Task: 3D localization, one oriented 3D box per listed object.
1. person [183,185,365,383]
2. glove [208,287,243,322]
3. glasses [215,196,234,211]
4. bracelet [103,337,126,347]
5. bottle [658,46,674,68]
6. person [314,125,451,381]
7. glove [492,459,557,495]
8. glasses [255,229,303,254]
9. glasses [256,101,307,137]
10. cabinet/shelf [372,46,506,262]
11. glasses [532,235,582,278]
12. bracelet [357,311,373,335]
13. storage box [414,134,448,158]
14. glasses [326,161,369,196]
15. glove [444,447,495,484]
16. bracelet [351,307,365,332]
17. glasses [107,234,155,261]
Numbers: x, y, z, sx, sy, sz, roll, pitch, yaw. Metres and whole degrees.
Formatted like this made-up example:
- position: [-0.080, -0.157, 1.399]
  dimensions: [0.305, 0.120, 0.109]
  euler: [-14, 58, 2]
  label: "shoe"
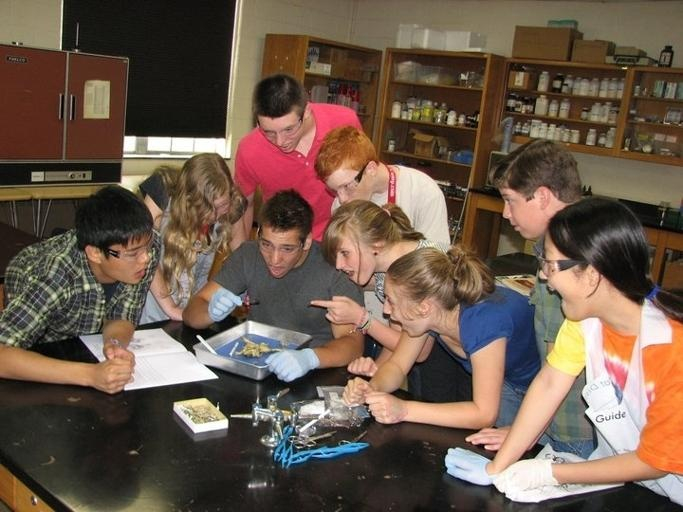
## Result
- position: [-0.327, 0.149, 2.486]
  dimensions: [0.600, 0.821, 0.460]
  euler: [12, 36, 13]
  label: "person"
- position: [-0.550, 0.229, 2.501]
  dimensions: [0.131, 0.163, 0.071]
  euler: [49, 14, 16]
  label: "glove"
- position: [-0.650, -0.278, 2.870]
  dimensions: [0.058, 0.037, 0.079]
  euler: [3, -29, 2]
  label: "glasses"
- position: [-0.923, 0.355, 2.147]
  dimensions: [0.064, 0.026, 0.064]
  euler: [12, -5, 11]
  label: "bracelet"
- position: [3.248, -2.003, 5.265]
  dimensions: [0.129, 0.242, 0.235]
  euler: [10, 13, 31]
  label: "bottle"
- position: [0.213, 0.087, 3.036]
  dimensions: [0.598, 1.537, 0.505]
  euler: [-1, 15, 5]
  label: "person"
- position: [0.579, 0.692, 1.654]
  dimensions: [0.160, 0.057, 0.100]
  euler: [-5, 15, -5]
  label: "glove"
- position: [-0.292, -0.058, 2.414]
  dimensions: [0.117, 0.044, 0.145]
  euler: [11, -17, 7]
  label: "glasses"
- position: [-0.307, -0.721, 2.835]
  dimensions: [0.170, 0.115, 0.224]
  euler: [-15, 11, 7]
  label: "glasses"
- position: [1.144, -1.519, 6.447]
  dimensions: [1.119, 2.287, 0.402]
  euler: [5, -24, 10]
  label: "cabinet/shelf"
- position: [0.680, 0.002, 1.668]
  dimensions: [0.113, 0.037, 0.112]
  euler: [8, 14, -1]
  label: "glasses"
- position: [0.107, 0.303, 2.399]
  dimensions: [0.038, 0.095, 0.071]
  euler: [18, -19, 3]
  label: "bracelet"
- position: [1.107, -1.362, 6.527]
  dimensions: [0.304, 0.271, 0.422]
  euler: [0, 12, -41]
  label: "storage box"
- position: [0.030, -0.386, 2.668]
  dimensions: [0.133, 0.072, 0.183]
  euler: [-8, 34, 53]
  label: "glasses"
- position: [0.410, 0.683, 1.711]
  dimensions: [0.105, 0.041, 0.092]
  euler: [21, 29, 31]
  label: "glove"
- position: [0.086, 0.291, 2.406]
  dimensions: [0.034, 0.091, 0.068]
  euler: [15, -17, 4]
  label: "bracelet"
- position: [-0.891, -0.037, 2.206]
  dimensions: [0.180, 0.113, 0.059]
  euler: [-5, 14, -37]
  label: "glasses"
